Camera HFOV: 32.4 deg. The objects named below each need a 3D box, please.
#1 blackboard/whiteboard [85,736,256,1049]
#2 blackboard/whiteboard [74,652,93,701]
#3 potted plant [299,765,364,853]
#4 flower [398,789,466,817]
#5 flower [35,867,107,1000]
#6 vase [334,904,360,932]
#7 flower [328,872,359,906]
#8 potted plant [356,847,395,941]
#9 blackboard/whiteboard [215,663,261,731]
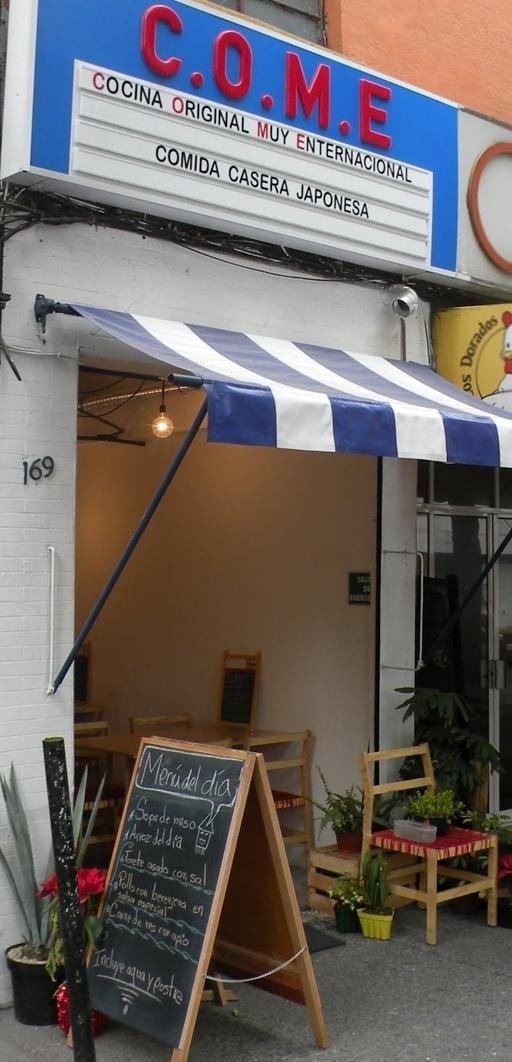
[{"bbox_3d":[-0.366,1.349,3.389,0.728,1.008,0.393,-5,-9,44],"label":"blackboard/whiteboard"},{"bbox_3d":[-1.805,1.511,9.203,0.151,0.599,0.265,3,-6,-13],"label":"blackboard/whiteboard"},{"bbox_3d":[0.520,1.829,5.691,0.478,0.562,0.336,-5,-8,20],"label":"potted plant"},{"bbox_3d":[1.002,1.602,5.171,0.234,0.145,0.248,3,-11,-12],"label":"flower"},{"bbox_3d":[-0.737,1.547,3.534,0.197,0.284,0.224,7,-38,-3],"label":"flower"},{"bbox_3d":[0.504,2.187,4.942,0.130,0.130,0.101,-3,-8,36],"label":"vase"},{"bbox_3d":[0.523,2.052,5.000,0.183,0.191,0.163,-1,-7,22],"label":"flower"},{"bbox_3d":[0.651,2.044,4.922,0.171,0.436,0.183,-8,-29,3],"label":"potted plant"},{"bbox_3d":[-0.126,1.331,6.991,0.087,0.743,0.357,23,-26,-38],"label":"blackboard/whiteboard"}]
